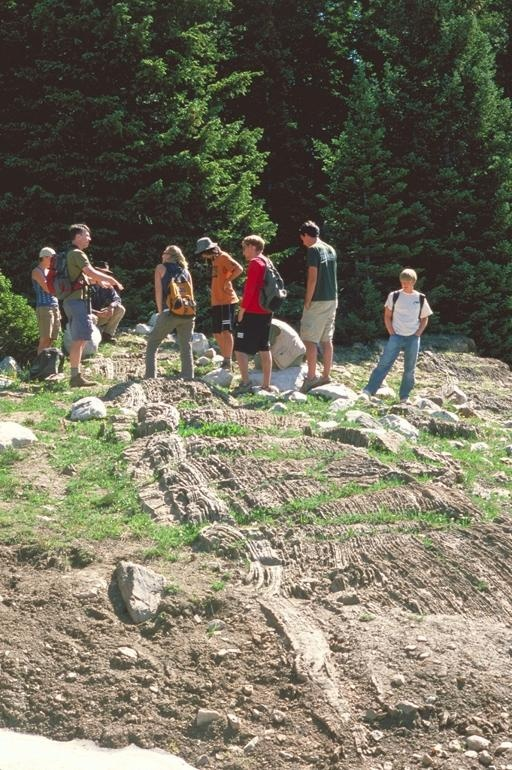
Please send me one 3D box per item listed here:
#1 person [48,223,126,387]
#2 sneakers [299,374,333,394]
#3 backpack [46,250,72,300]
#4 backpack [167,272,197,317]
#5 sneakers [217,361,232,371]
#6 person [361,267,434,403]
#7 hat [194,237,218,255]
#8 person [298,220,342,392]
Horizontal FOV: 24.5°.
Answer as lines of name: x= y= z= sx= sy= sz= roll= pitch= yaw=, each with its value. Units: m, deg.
person: x=-1.759 y=-0.854 z=12.500 sx=0.831 sy=1.654 sz=0.659 roll=-1 pitch=1 yaw=9
sneakers: x=0.634 y=-0.017 z=13.099 sx=0.405 sy=0.165 sz=0.133 roll=-33 pitch=5 yaw=-22
backpack: x=-2.079 y=-1.179 z=12.440 sx=0.184 sy=0.519 sz=0.688 roll=3 pitch=9 yaw=-17
backpack: x=-0.771 y=-0.938 z=12.328 sx=0.215 sy=0.430 sz=0.328 roll=12 pitch=11 yaw=36
sneakers: x=-0.352 y=-0.241 z=13.635 sx=0.090 sy=0.127 sz=0.131 roll=1 pitch=-3 yaw=-4
person: x=1.586 y=-0.570 z=13.180 sx=0.611 sy=1.475 sz=0.870 roll=7 pitch=9 yaw=5
hat: x=-0.568 y=-1.576 z=13.360 sx=0.225 sy=0.196 sz=0.601 roll=5 pitch=9 yaw=-7
person: x=0.650 y=-0.843 z=12.893 sx=0.326 sy=1.849 sz=0.673 roll=10 pitch=10 yaw=26
